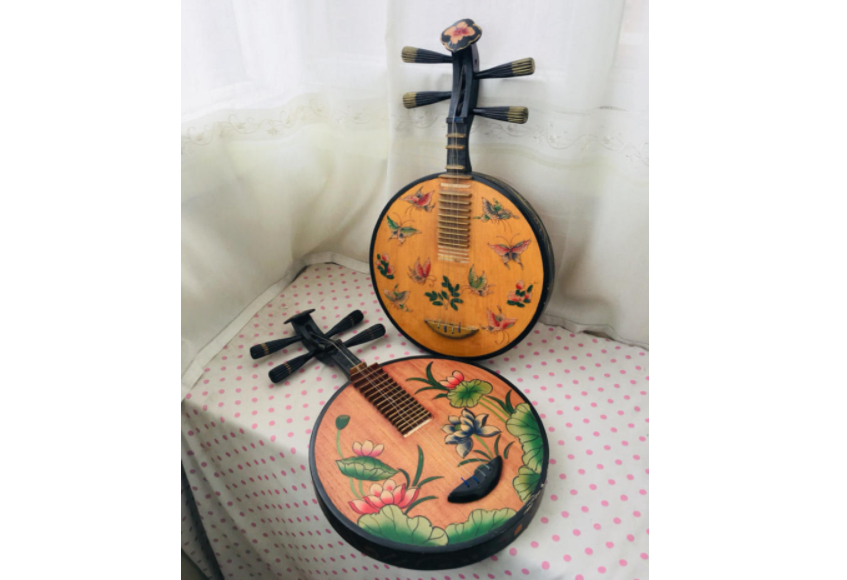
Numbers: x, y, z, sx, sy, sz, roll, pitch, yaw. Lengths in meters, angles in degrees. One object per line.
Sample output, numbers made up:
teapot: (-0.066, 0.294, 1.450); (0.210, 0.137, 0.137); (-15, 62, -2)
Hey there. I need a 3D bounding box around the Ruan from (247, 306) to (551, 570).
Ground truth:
Ruan: (-0.091, 0.310, 1.698); (0.537, 0.137, 0.926); (-26, 44, -28)
